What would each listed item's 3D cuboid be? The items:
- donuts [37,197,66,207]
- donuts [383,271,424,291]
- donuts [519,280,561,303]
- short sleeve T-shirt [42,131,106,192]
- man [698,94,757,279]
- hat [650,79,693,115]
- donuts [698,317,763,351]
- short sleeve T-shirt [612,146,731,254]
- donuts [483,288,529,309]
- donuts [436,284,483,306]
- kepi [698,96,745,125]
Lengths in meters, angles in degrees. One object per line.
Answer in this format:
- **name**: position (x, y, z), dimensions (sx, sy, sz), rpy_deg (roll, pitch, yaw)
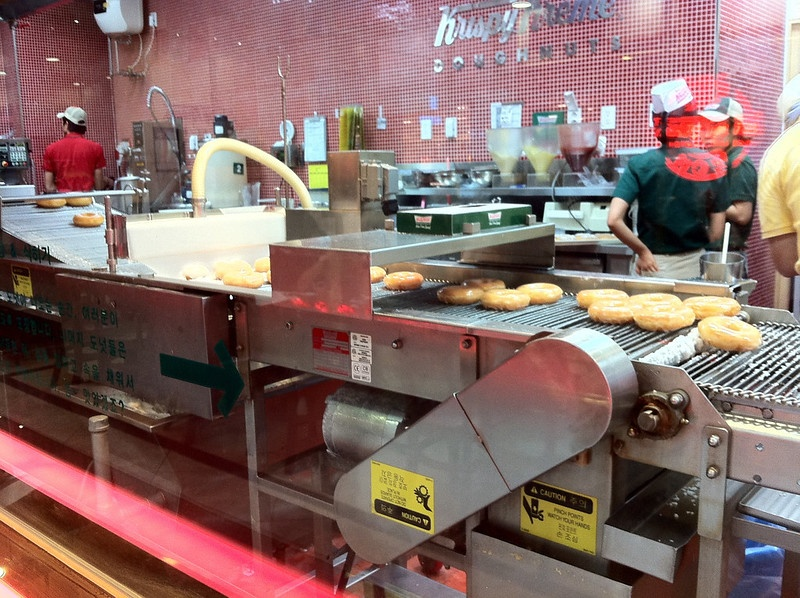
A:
- **donuts**: position (-1.205, -0.330, 2.053), dimensions (0.092, 0.036, 0.048), rpy_deg (-12, 16, -38)
- **donuts**: position (0.014, -0.056, 1.727), dimensions (0.100, 0.040, 0.137), rpy_deg (4, 14, 26)
- **donuts**: position (0.380, -0.033, 1.629), dimensions (0.070, 0.024, 0.070), rpy_deg (-4, 11, -7)
- **short sleeve T-shirt**: position (-1.046, -0.434, 1.889), dimensions (0.189, 0.182, 0.068), rpy_deg (-8, 30, -37)
- **man**: position (1.640, -0.538, 2.937), dimensions (0.493, 0.883, 0.200), rpy_deg (-12, 16, -39)
- **hat**: position (1.275, -0.937, 2.844), dimensions (0.180, 0.100, 0.179), rpy_deg (-38, 26, -12)
- **donuts**: position (0.713, 0.075, 1.276), dimensions (0.088, 0.030, 0.088), rpy_deg (-9, 18, -35)
- **short sleeve T-shirt**: position (1.406, -0.530, 3.025), dimensions (0.545, 0.535, 0.306), rpy_deg (8, 30, 36)
- **donuts**: position (0.277, 0.000, 1.554), dimensions (0.097, 0.048, 0.137), rpy_deg (6, 15, 31)
- **donuts**: position (0.160, -0.010, 1.568), dimensions (0.120, 0.042, 0.075), rpy_deg (-1, 13, 5)
- **kepi**: position (1.511, -0.874, 2.790), dimensions (0.195, 0.102, 0.132), rpy_deg (4, 8, -10)
